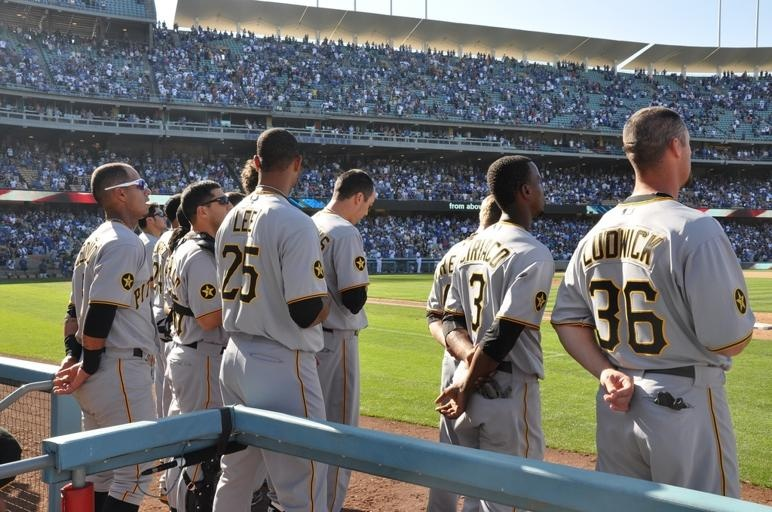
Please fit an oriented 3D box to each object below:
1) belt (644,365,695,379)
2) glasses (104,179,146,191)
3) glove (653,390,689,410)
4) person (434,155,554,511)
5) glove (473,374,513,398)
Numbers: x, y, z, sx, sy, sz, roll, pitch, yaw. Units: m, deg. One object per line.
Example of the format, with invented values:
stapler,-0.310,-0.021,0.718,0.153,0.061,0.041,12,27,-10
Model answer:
belt,3.273,1.326,10.579,0.560,0.136,0.039,3,6,10
glasses,-3.427,-0.939,12.205,0.313,0.088,0.234,-15,17,-36
glove,3.269,1.663,10.593,0.300,0.195,0.105,15,7,-13
person,1.371,0.621,11.350,1.321,3.677,0.816,3,6,9
glove,1.319,1.662,11.326,0.528,0.286,0.387,1,-23,-1
